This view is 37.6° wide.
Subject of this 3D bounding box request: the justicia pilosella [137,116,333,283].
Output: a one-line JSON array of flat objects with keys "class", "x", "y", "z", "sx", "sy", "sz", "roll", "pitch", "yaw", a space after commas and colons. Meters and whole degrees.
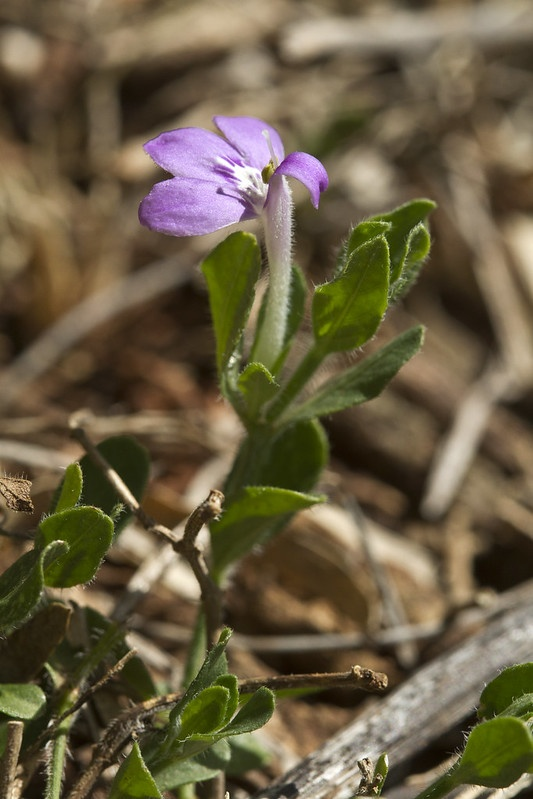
[{"class": "justicia pilosella", "x": -0.071, "y": -0.285, "z": 1.115, "sx": 0.273, "sy": 0.117, "sz": 0.281, "roll": 8, "pitch": 1, "yaw": -29}]
